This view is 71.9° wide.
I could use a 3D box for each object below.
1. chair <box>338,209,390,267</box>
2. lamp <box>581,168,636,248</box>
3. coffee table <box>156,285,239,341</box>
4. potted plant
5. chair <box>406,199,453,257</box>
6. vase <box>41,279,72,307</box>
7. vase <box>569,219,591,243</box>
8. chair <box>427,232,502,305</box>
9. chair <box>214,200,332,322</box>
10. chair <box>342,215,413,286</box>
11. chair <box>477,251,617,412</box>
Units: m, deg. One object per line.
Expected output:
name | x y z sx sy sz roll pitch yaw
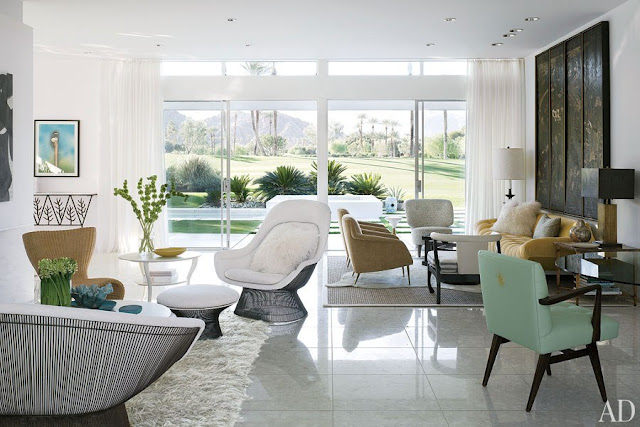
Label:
chair | 0.765 0.409 6.696 0.872 0.875 0.748 7 16 9
lamp | 3.702 -0.108 5.674 0.588 0.939 0.486 5 10 32
coffee table | -1.279 1.014 4.478 0.837 0.463 0.800 1 -3 -24
potted plant | -2.097 0.055 5.376 0.798 0.872 0.731 -1 -17 -11
chair | 2.063 0.234 8.134 0.915 0.939 0.861 -4 6 -22
vase | -2.036 0.592 3.345 0.235 0.206 0.173 -5 -18 -23
vase | 3.398 0.224 5.708 0.298 0.328 0.266 0 4 -5
chair | 1.800 0.630 5.872 0.965 0.893 1.085 0 2 3
chair | -0.431 0.514 5.103 1.210 1.132 1.316 5 11 32
chair | 0.857 0.474 6.263 0.921 0.808 0.678 2 4 -3
chair | 1.837 0.875 3.536 1.081 0.985 0.967 0 1 -44
